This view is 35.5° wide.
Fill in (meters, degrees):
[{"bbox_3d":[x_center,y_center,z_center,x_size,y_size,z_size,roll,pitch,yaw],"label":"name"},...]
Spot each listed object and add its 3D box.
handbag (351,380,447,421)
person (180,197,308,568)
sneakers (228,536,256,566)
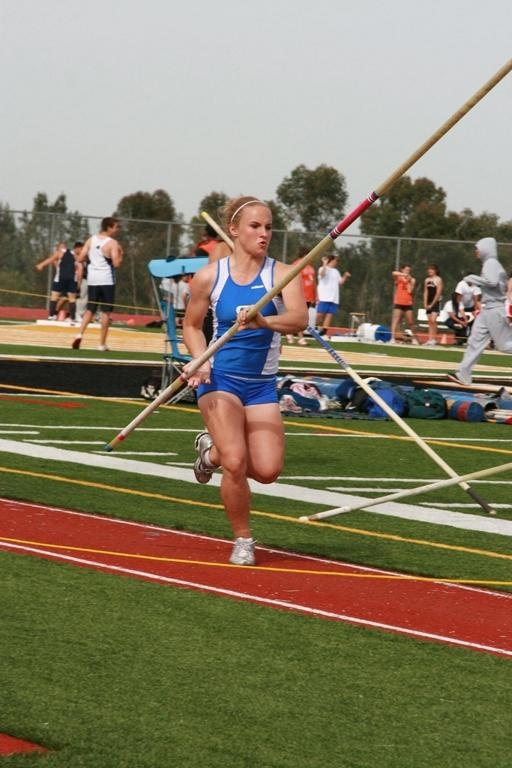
[{"bbox_3d":[1.941,0.264,10.152,0.944,0.289,0.666,4,2,1],"label":"handbag"},{"bbox_3d":[-0.083,-0.037,3.983,0.559,1.703,0.785,7,-2,-19],"label":"person"},{"bbox_3d":[-0.064,0.806,3.811,0.089,0.099,0.157,2,-9,-4],"label":"sneakers"}]
